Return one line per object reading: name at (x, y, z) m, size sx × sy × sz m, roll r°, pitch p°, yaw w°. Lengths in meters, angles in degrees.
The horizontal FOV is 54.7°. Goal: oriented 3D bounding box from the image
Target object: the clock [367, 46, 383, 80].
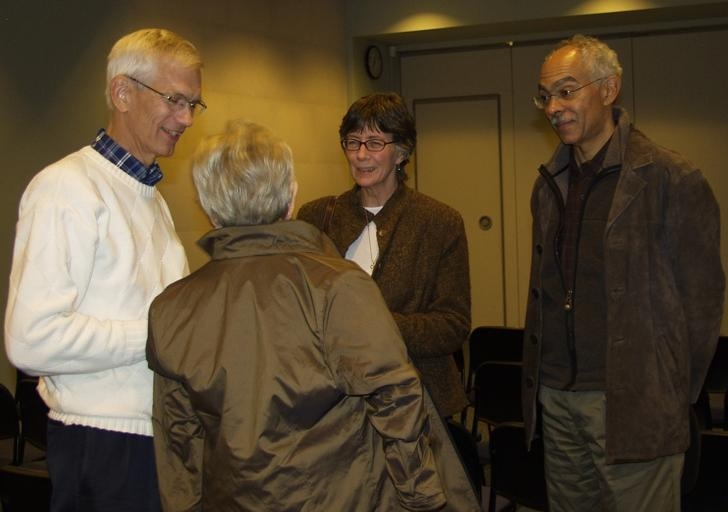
clock at (0.117, -1.890, 6.894) m, size 0.035 × 0.324 × 0.320 m, roll -12°, pitch 20°, yaw -26°
